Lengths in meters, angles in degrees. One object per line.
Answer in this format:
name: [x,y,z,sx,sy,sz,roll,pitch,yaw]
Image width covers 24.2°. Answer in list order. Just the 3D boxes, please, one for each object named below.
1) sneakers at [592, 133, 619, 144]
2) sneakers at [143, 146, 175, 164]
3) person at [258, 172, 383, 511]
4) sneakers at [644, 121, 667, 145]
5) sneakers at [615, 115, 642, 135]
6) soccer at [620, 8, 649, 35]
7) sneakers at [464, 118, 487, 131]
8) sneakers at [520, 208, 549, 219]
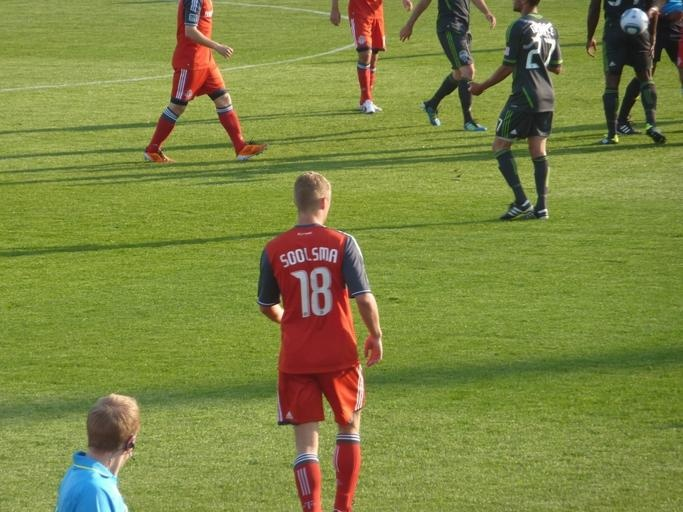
sneakers: [3.296,-1.485,20.015,0.308,0.196,0.107,3,14,9]
sneakers: [-2.236,-1.199,19.330,0.437,0.191,0.142,9,45,-30]
person: [-0.135,0.719,13.563,0.967,2.806,0.758,-5,11,-19]
sneakers: [3.867,-1.536,19.759,0.136,0.342,0.173,-27,30,45]
sneakers: [3.661,-1.707,20.468,0.394,0.253,0.127,-4,33,-20]
soccer: [3.443,-2.776,19.005,0.328,0.311,0.308,6,-2,-5]
sneakers: [1.755,-1.711,20.837,0.352,0.143,0.116,2,12,3]
sneakers: [2.103,-0.469,17.441,0.284,0.115,0.106,3,5,-2]
